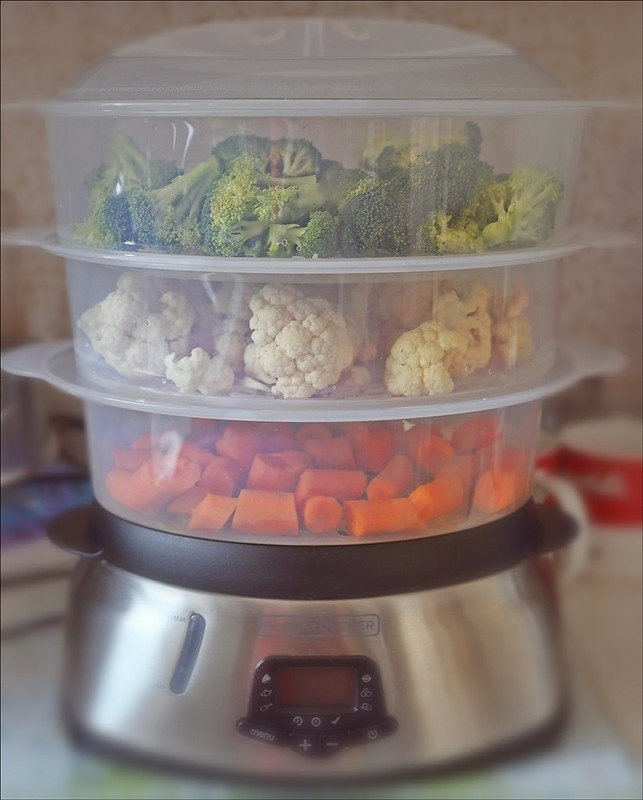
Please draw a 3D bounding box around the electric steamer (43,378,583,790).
[{"bbox_3d":[-0.013,0.196,1.167,0.709,0.358,0.542,0,10,-1],"label":"electric steamer"}]

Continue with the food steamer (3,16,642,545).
[{"bbox_3d":[-0.003,-0.150,1.161,0.822,0.481,0.622,0,8,-3],"label":"food steamer"}]

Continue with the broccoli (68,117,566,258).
[{"bbox_3d":[0.004,-0.231,0.909,0.506,0.145,0.125,2,30,2],"label":"broccoli"}]

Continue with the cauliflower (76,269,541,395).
[{"bbox_3d":[-0.008,-0.075,0.943,0.496,0.134,0.116,1,30,-1],"label":"cauliflower"}]
